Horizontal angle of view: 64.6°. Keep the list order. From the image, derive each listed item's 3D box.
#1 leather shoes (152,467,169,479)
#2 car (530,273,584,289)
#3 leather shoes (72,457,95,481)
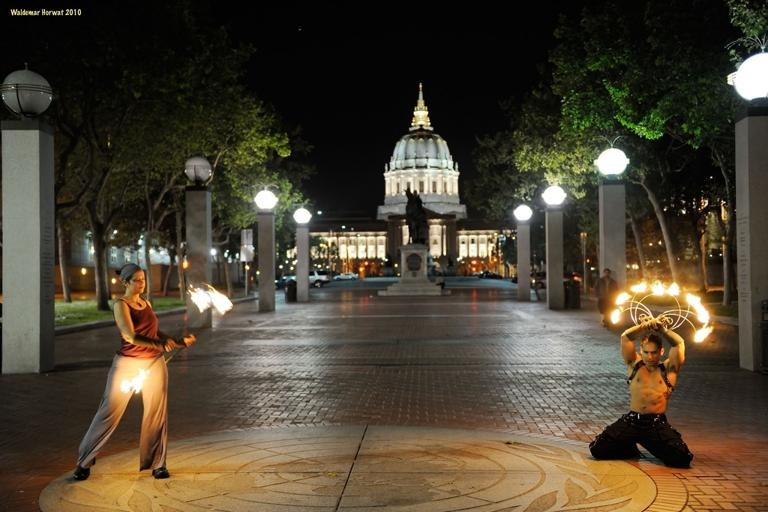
[{"bbox_3d":[-2.841,2.740,7.670,0.240,0.129,0.159,-2,-3,-5],"label":"leather shoes"},{"bbox_3d":[13.187,1.856,46.034,2.989,1.313,1.482,3,-2,5],"label":"car"},{"bbox_3d":[-3.818,2.702,7.682,0.213,0.262,0.227,0,-3,-32],"label":"leather shoes"}]
